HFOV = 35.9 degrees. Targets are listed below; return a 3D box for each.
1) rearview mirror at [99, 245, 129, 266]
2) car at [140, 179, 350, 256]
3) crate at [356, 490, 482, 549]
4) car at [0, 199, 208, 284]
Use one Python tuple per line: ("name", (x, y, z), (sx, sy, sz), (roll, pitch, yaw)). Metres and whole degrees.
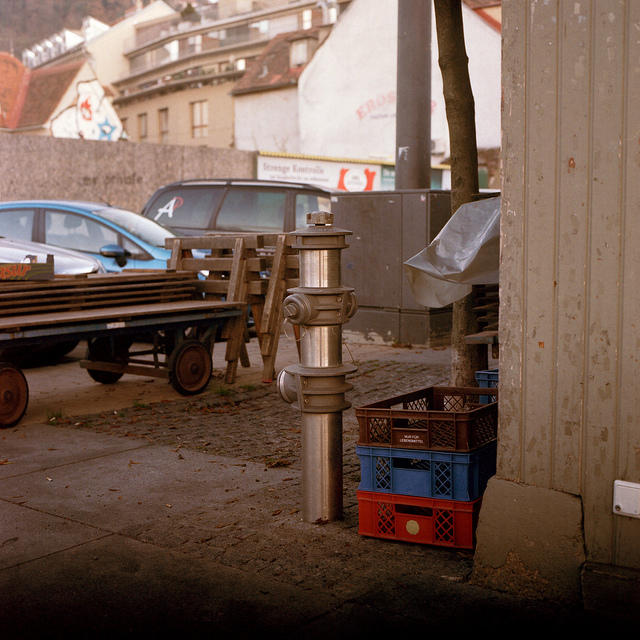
("rearview mirror", (-2.501, -0.798, 11.919), (0.257, 0.244, 0.263), (-10, 9, -21))
("car", (-1.196, -1.595, 14.042), (2.686, 1.494, 1.786), (0, 4, 4))
("crate", (0.536, 1.001, 4.959), (0.618, 0.204, 0.454), (-1, -12, 34))
("car", (-2.962, -1.069, 12.367), (2.221, 1.041, 1.349), (1, 8, 9))
